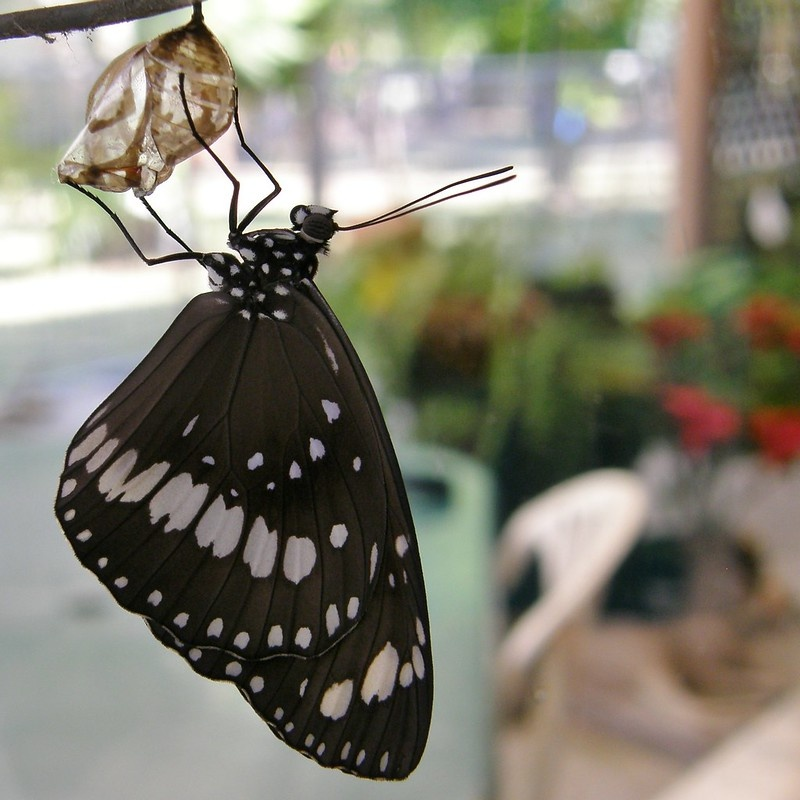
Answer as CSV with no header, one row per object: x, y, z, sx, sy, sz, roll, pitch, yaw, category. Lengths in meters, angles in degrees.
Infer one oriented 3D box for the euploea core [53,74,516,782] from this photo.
-0.103,0.012,0.887,0.348,0.520,0.268,2,-2,24,euploea core
